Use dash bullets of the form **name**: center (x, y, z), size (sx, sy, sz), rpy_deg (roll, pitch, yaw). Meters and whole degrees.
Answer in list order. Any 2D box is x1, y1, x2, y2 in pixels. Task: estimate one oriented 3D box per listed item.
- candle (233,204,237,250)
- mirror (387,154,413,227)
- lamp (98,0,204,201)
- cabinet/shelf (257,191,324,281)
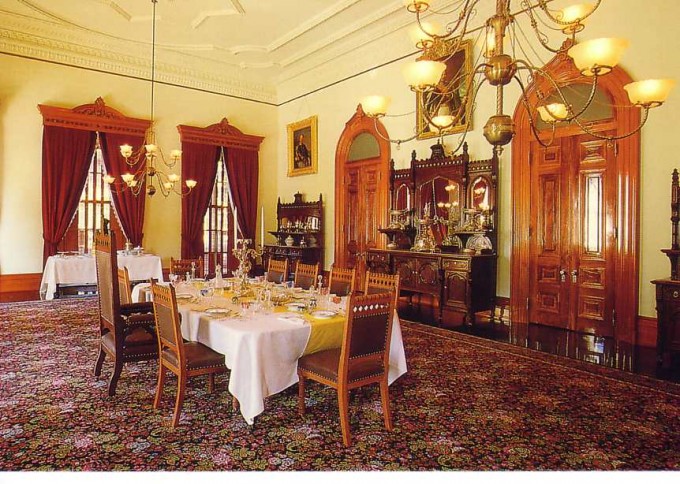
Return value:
- **candle**: center (-2.447, -0.392, 11.888), size (0.121, 1.000, 0.245), rpy_deg (-3, 13, -13)
- **mirror**: center (1.101, -0.890, 9.143), size (0.403, 1.115, 0.827), rpy_deg (2, 13, 6)
- **lamp**: center (-3.745, -2.554, 9.813), size (1.628, 3.610, 2.310), rpy_deg (-4, 14, -17)
- **cabinet/shelf**: center (-0.995, -0.151, 10.576), size (0.702, 2.508, 1.876), rpy_deg (4, -4, -41)
